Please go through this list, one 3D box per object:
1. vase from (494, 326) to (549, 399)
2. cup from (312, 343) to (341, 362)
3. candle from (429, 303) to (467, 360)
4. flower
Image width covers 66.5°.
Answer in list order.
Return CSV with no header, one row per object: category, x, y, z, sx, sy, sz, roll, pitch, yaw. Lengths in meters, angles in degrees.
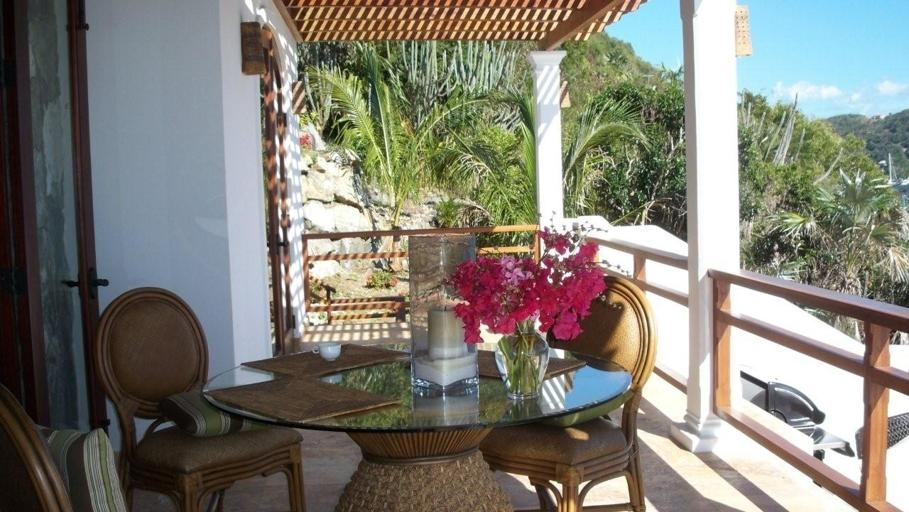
vase,0.368,0.590,3.954,0.310,0.528,0.357,1,-3,-7
cup,-0.748,0.573,4.118,0.120,0.070,0.098,2,-6,-24
candle,-0.038,0.403,3.815,0.231,0.287,0.242,1,14,2
flower,0.373,0.291,3.706,0.818,0.896,0.258,-2,9,-1
